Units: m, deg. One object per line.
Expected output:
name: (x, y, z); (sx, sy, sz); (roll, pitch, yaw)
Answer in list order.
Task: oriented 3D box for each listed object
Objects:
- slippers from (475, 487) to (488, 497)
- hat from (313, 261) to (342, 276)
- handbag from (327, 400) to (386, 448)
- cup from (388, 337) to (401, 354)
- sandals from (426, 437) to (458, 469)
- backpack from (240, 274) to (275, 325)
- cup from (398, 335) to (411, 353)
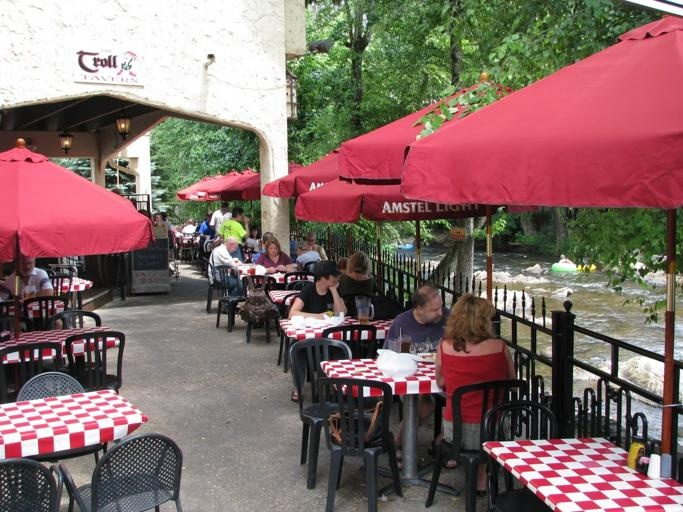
slippers: (1.194, 2.007, 5.607); (0.079, 0.095, 0.102); (-1, 3, 5)
hat: (-0.167, 0.148, 8.174); (0.244, 0.138, 0.184); (-1, 7, -24)
handbag: (0.110, 1.430, 5.532); (0.316, 0.397, 0.423); (0, 25, -3)
cup: (0.488, 0.849, 6.206); (0.092, 0.112, 0.108); (5, 6, 43)
sandals: (0.944, 1.859, 6.268); (0.173, 0.243, 0.589); (-1, 0, -7)
backpack: (-1.372, 0.736, 10.842); (0.578, 0.795, 0.415); (-4, -4, 1)
cup: (0.586, 0.809, 6.096); (0.129, 0.154, 0.126); (-1, 6, 0)
